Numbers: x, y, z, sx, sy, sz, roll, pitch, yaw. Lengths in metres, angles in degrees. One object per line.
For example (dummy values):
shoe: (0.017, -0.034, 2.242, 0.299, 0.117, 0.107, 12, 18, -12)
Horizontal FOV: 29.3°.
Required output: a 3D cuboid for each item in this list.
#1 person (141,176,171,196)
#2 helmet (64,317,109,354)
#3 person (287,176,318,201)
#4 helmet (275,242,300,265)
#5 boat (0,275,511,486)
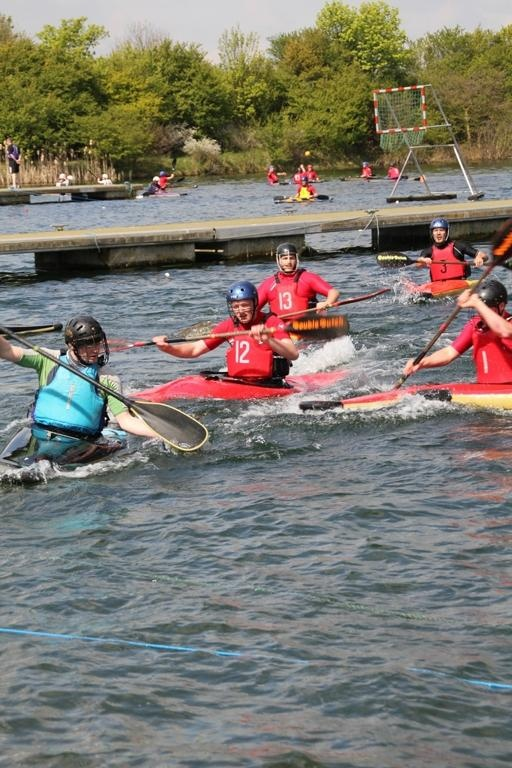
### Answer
person: (-4.052, -7.954, 39.405, 0.943, 0.955, 1.786, -2, 5, 1)
helmet: (-1.323, -0.365, 7.230, 0.315, 0.246, 0.248, 1, 21, 39)
person: (1.605, -6.333, 32.606, 0.720, 0.647, 1.263, -2, 1, 16)
helmet: (0.359, -1.504, 11.287, 0.253, 0.221, 0.297, 2, 19, 4)
boat: (-0.040, -0.247, 8.464, 4.833, 0.946, 1.604, -11, 30, -35)
